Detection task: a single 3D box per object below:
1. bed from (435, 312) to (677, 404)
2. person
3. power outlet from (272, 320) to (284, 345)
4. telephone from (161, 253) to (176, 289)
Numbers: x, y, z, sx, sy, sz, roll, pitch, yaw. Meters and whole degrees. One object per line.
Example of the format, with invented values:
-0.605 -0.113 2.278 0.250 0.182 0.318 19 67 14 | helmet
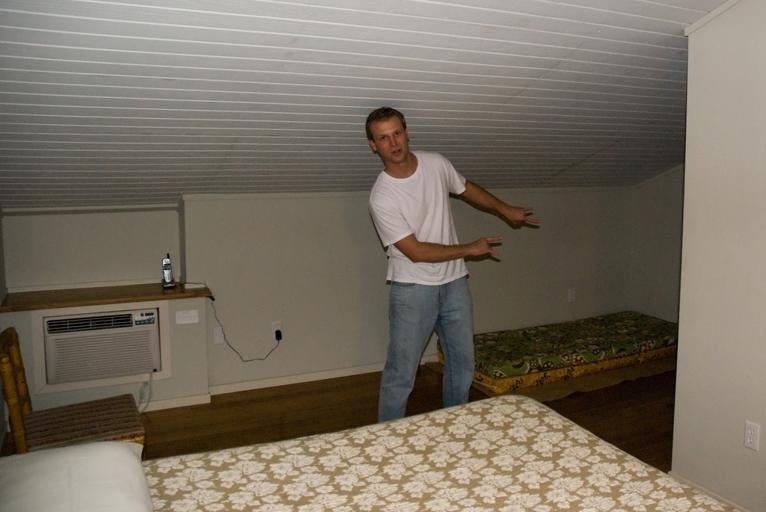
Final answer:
1.571 0.766 4.133 1.595 0.271 0.857 -6 11 -23 | bed
0.349 0.063 3.194 0.808 1.920 0.742 1 12 18 | person
-0.884 0.644 4.408 0.101 0.180 0.043 -2 4 -11 | power outlet
-1.742 0.119 4.221 0.113 0.256 0.085 -5 7 -28 | telephone
